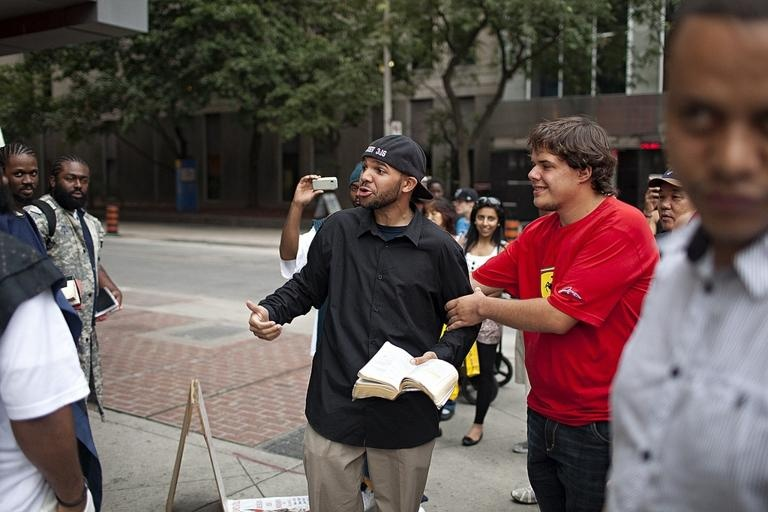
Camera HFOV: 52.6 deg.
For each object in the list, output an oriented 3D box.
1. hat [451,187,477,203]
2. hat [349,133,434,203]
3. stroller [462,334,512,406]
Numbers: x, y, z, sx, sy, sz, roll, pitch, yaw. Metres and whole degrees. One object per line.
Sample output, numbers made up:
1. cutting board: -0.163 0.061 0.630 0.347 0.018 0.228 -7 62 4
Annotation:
1. hat: 0.920 -0.690 8.829 0.258 0.141 0.197 13 7 7
2. hat: 0.083 -0.467 4.062 0.392 0.245 0.278 28 0 -30
3. stroller: 0.987 1.157 7.455 0.687 0.669 0.445 -8 4 8
